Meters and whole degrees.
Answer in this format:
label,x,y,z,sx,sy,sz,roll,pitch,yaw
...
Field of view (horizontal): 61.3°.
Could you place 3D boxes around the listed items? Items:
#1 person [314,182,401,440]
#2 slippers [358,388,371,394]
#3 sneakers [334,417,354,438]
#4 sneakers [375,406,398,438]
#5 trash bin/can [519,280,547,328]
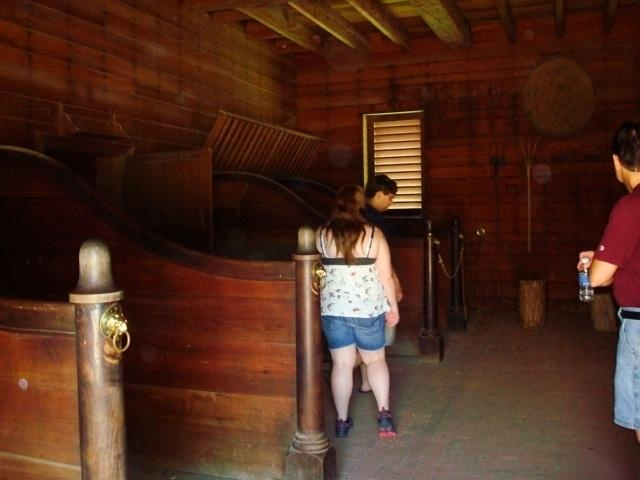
label,x,y,z,sx,sy,sz,roll,pitch,yaw
person,0.234,0.455,3.305,0.501,1.583,0.274,-1,5,-3
slippers,0.345,1.164,4.191,0.096,0.039,0.034,0,-1,32
sneakers,0.145,1.188,3.411,0.063,0.063,0.145,0,1,11
sneakers,0.414,1.165,3.410,0.082,0.091,0.207,-1,1,9
trash bin/can,2.457,0.738,6.251,0.269,0.509,0.212,1,5,18
